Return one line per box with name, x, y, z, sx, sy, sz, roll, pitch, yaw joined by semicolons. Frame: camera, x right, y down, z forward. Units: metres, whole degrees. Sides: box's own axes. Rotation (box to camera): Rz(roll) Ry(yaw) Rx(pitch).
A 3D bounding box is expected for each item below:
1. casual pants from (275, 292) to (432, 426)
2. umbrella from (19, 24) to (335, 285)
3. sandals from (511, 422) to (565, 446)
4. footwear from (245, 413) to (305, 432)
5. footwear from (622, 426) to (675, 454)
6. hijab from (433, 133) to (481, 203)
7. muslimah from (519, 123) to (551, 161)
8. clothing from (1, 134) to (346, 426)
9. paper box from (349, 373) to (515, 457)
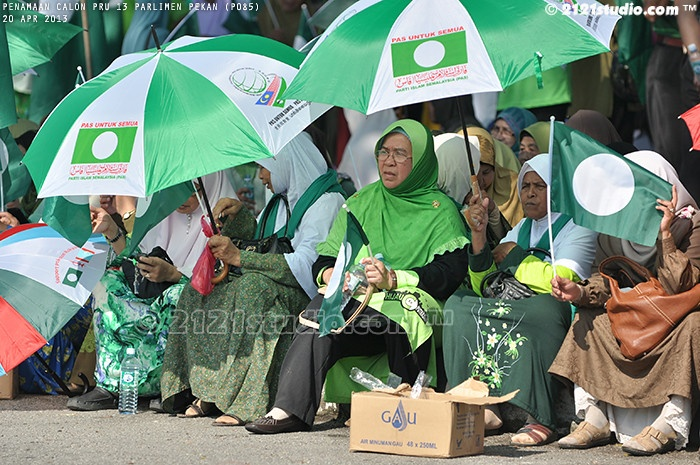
casual pants;0.059;0.900;6.274;0.790;0.756;0.470;-9;-29;30
umbrella;-1.075;-0.640;6.537;1.425;0.635;1.465;-1;30;43
sandals;1.304;1.389;6.116;0.302;0.097;0.140;6;-11;-35
footwear;-0.524;1.368;6.345;0.427;0.165;0.152;4;-9;-13
footwear;1.963;1.367;5.827;0.307;0.121;0.178;1;-6;-20
hijab;0.869;-0.515;7.290;0.287;0.386;0.531;-2;-42;23
muslimah;1.682;-0.841;8.116;0.335;0.347;0.286;-2;1;-10
clothing;-1.422;0.306;7.695;2.266;2.832;2.047;1;0;-38
paper box;0.452;1.121;5.888;0.647;0.308;0.628;-1;-4;23
